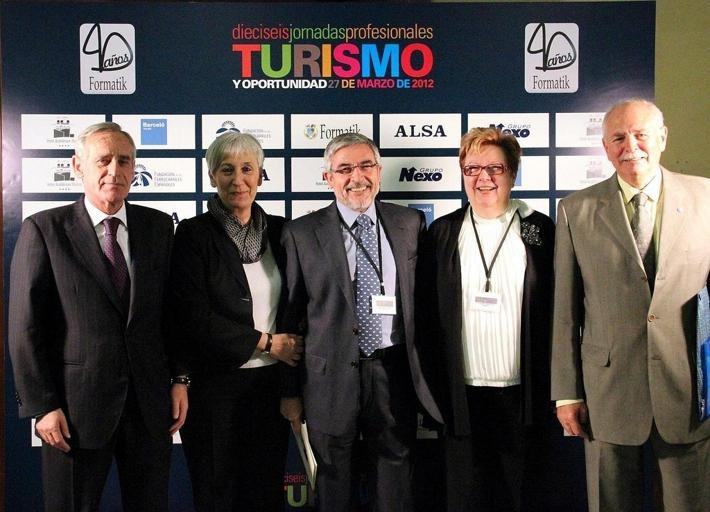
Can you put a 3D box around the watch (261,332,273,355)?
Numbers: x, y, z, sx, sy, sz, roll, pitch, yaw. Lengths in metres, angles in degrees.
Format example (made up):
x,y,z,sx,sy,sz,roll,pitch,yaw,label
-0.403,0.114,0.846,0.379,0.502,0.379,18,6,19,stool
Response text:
x,y,z,sx,sy,sz,roll,pitch,yaw,label
-0.542,0.551,4.771,0.068,0.117,0.102,18,-7,-20,watch

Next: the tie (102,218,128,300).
x,y,z,sx,sy,sz,roll,pitch,yaw,label
-1.456,0.001,4.620,0.127,0.538,0.070,1,-18,-20,tie

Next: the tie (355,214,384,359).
x,y,z,sx,sy,sz,roll,pitch,yaw,label
0.086,0.176,4.727,0.161,0.832,0.273,-2,8,1,tie

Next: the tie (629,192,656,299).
x,y,z,sx,sy,sz,roll,pitch,yaw,label
1.732,-0.089,4.512,0.138,0.579,0.186,1,8,18,tie

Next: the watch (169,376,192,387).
x,y,z,sx,sy,sz,roll,pitch,yaw,label
-1.118,0.792,4.817,0.085,0.064,0.090,-2,-19,30,watch
